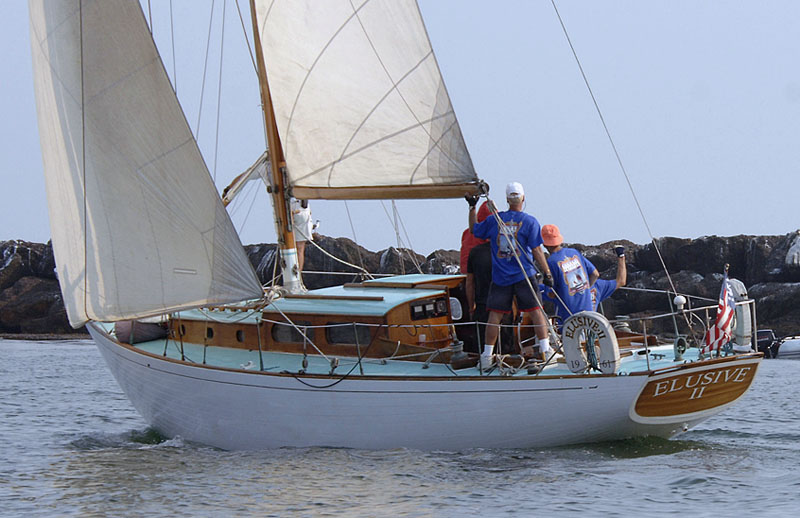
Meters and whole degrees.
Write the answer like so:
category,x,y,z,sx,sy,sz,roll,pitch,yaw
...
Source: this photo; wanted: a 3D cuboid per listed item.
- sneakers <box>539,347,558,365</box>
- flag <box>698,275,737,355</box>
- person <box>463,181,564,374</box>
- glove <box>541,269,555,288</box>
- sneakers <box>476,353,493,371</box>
category,x,y,z,sx,sy,sz,roll,pitch,yaw
sneakers,1.963,1.271,12.054,0.268,0.280,0.606,-3,4,9
flag,4.193,0.736,12.071,0.428,1.049,0.486,-2,4,19
person,1.480,0.224,12.175,0.995,2.436,0.943,-3,4,3
glove,1.943,0.258,11.972,0.122,0.216,0.082,-6,-2,31
sneakers,1.129,1.356,12.014,0.168,0.259,0.447,-2,4,10
